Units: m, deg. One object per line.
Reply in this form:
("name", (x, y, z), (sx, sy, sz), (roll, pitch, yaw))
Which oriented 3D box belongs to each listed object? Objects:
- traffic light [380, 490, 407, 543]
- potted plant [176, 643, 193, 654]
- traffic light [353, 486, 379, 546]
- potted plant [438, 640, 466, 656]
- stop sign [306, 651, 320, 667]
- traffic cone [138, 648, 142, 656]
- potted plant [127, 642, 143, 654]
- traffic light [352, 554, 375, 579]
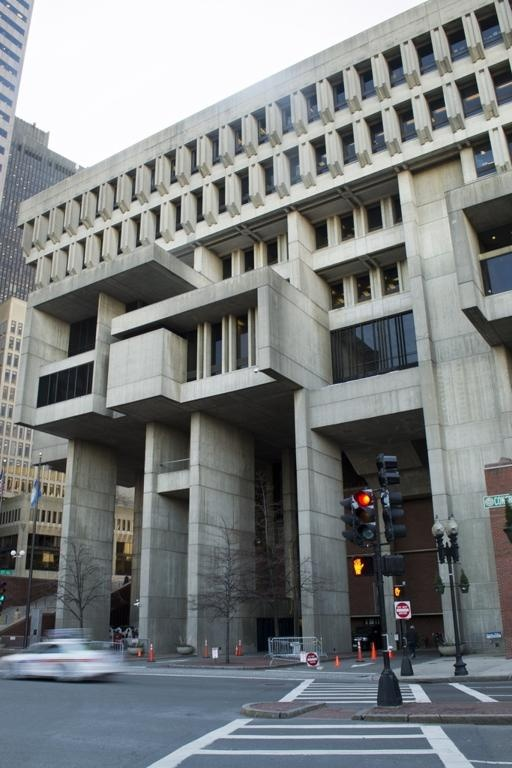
("traffic light", (2.489, 2.377, 10.545), (0.386, 1.024, 2.555), (-6, -19, 13))
("potted plant", (-4.511, 16.996, 36.519), (0.741, 0.429, 0.778), (-3, -18, 8))
("traffic light", (1.819, 2.215, 9.615), (0.361, 0.863, 0.493), (-5, -18, 9))
("potted plant", (9.370, 13.239, 28.664), (1.116, 0.537, 1.323), (13, -35, -14))
("stop sign", (2.347, 11.696, 24.165), (0.480, 0.654, 0.980), (-2, -18, 0))
("traffic cone", (-7.603, 17.622, 37.645), (0.315, 0.481, 0.968), (-1, -18, -5))
("potted plant", (-7.980, 17.587, 37.969), (0.798, 0.557, 0.834), (1, -20, -9))
("traffic light", (1.919, 3.313, 10.424), (0.402, 0.342, 0.563), (-12, -20, 26))
